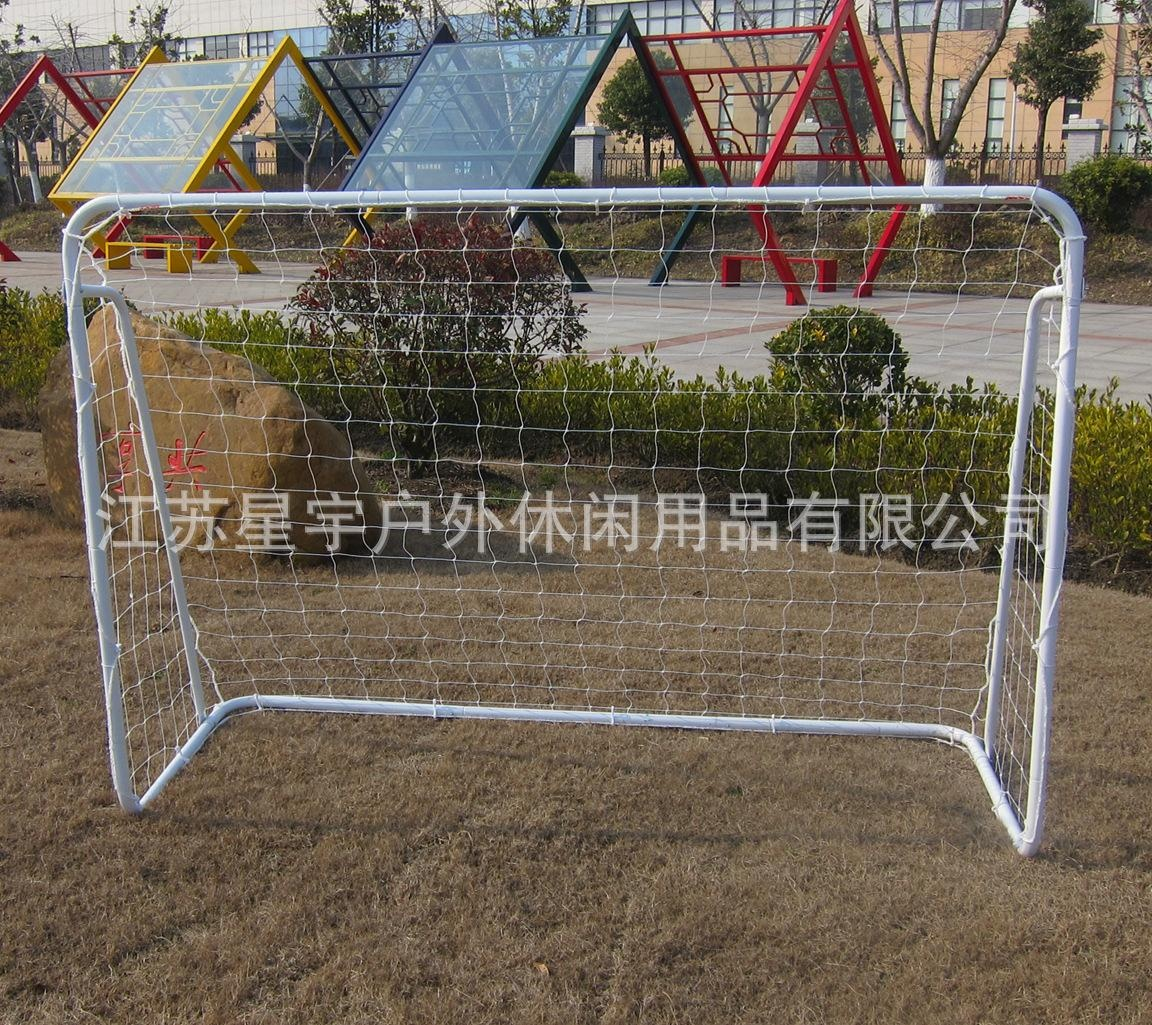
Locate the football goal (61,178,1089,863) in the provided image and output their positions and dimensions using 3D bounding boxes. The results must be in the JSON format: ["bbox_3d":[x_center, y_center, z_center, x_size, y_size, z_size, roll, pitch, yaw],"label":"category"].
[{"bbox_3d":[0.483,-0.840,14.316,5.644,3.199,11.416,3,9,11],"label":"football goal"}]
